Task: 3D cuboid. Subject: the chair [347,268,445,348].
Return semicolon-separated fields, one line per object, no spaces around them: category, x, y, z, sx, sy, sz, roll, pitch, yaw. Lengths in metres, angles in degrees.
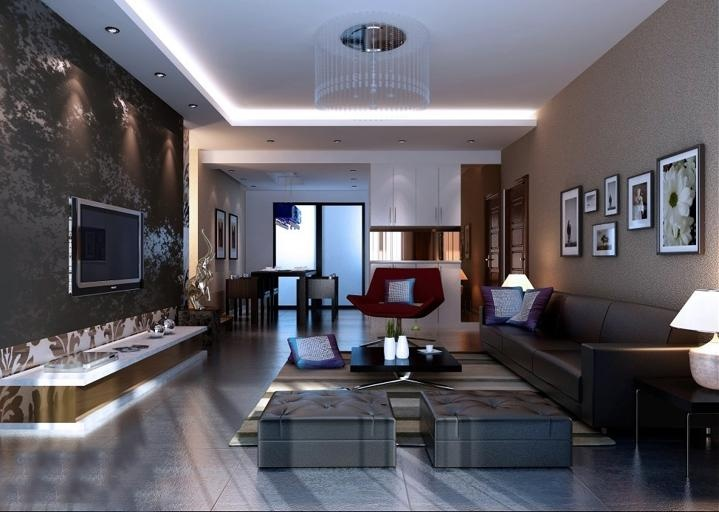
chair;0.658;0.720;7.517;1.313;1.086;1.066;-3;-11;14

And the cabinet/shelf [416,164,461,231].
cabinet/shelf;1.434;-1.026;8.971;1.090;1.570;0.897;0;0;6

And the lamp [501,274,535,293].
lamp;2.116;0.352;6.567;0.307;0.152;0.313;-1;-1;41

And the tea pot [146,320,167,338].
tea pot;-2.376;0.847;5.714;0.210;0.202;0.167;-2;1;-5

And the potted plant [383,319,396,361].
potted plant;0.310;0.867;5.055;0.117;0.358;0.328;0;6;4

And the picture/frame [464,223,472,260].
picture/frame;2.058;-0.266;9.348;0.094;0.649;0.215;-4;7;-33

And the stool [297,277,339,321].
stool;-0.838;0.757;9.625;0.772;0.887;1.186;-1;6;-7

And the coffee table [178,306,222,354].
coffee table;-2.208;1.031;6.987;0.493;0.668;0.696;0;-1;9

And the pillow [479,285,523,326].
pillow;1.812;0.636;6.240;0.446;0.377;0.220;-4;-39;12

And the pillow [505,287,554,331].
pillow;2.063;0.595;5.849;0.150;0.486;0.508;30;-9;-6
